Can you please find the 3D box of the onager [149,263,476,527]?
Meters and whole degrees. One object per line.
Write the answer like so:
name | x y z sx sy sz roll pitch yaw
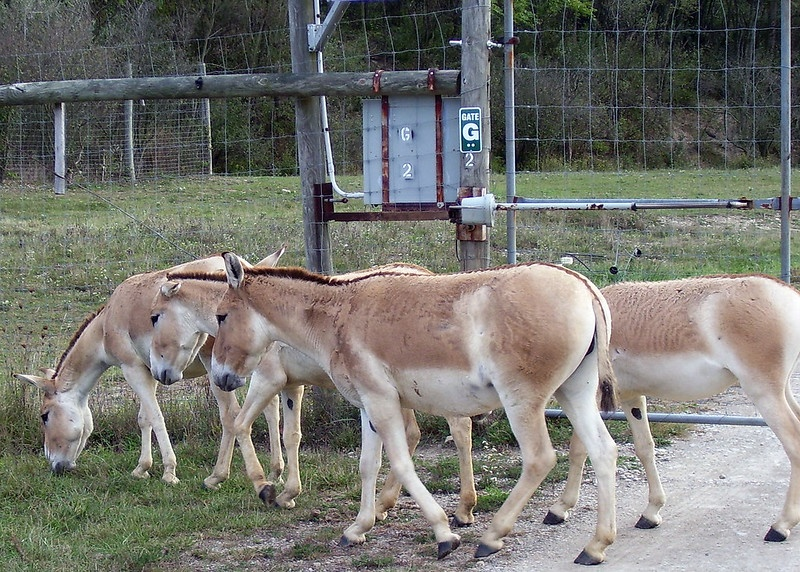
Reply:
onager | -2.040 1.553 22.017 6.853 5.508 2.103 2 -5 0

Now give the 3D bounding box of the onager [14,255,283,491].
onager | -2.884 1.712 21.972 4.541 4.100 2.808 13 18 34

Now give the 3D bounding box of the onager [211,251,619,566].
onager | 0.413 1.685 18.708 4.737 3.839 0.622 -1 6 9
